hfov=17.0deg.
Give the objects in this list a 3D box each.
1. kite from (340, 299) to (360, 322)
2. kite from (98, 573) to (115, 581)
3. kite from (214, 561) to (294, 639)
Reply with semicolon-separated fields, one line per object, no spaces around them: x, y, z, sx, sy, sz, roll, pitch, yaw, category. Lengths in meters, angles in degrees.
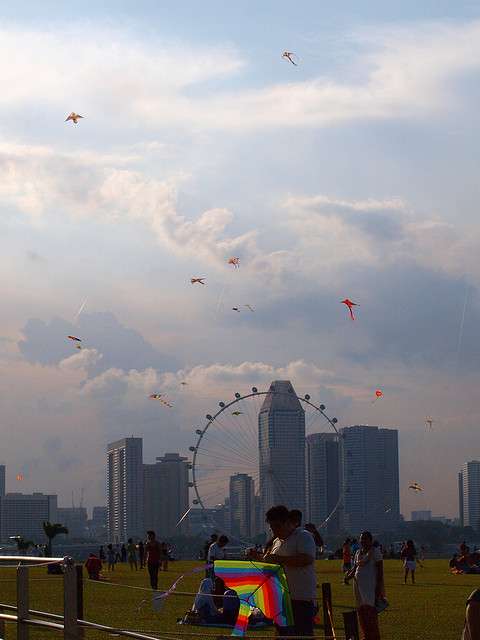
2.099;-0.281;31.129;0.275;0.312;0.114;-15;24;14;kite
-5.801;10.799;67.769;0.407;0.328;1.027;-9;-11;18;kite
0.352;6.387;37.268;1.655;1.697;0.499;-2;-5;1;kite
